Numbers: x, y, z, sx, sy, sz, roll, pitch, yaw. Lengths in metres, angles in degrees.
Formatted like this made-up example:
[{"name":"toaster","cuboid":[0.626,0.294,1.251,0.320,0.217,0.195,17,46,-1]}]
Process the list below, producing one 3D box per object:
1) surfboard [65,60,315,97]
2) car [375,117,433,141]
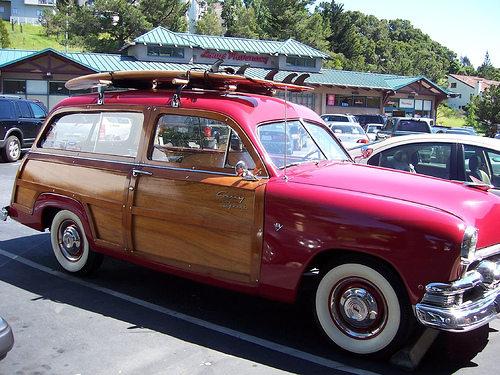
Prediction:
[{"name":"surfboard","cuboid":[-1.047,-1.301,4.256,2.549,0.307,1.073,1,7,8]},{"name":"car","cuboid":[8.139,-3.146,17.906,3.190,1.154,1.690,-1,7,4]}]
